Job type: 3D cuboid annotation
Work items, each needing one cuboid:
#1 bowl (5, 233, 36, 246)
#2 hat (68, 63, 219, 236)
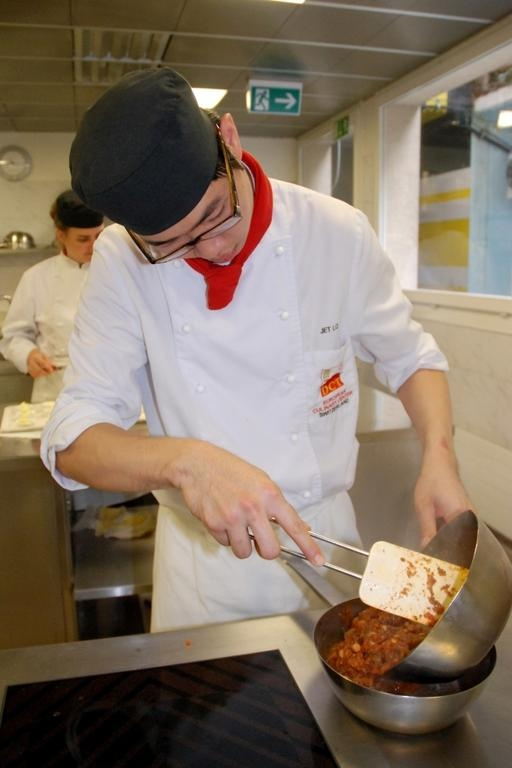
[{"bbox_3d":[-2.101,-1.267,5.138,0.174,0.118,0.171,1,9,0],"label":"bowl"},{"bbox_3d":[-0.130,-0.281,0.694,0.176,0.194,0.095,-5,9,-15],"label":"hat"}]
